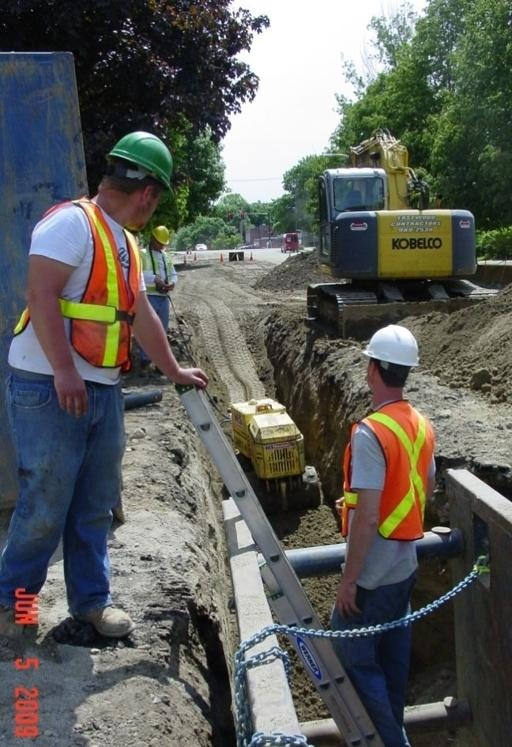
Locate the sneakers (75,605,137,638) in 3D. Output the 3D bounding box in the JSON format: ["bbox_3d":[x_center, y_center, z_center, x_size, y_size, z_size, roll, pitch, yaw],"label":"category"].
[{"bbox_3d":[-0.653,1.072,2.984,0.225,0.082,0.118,-4,1,33],"label":"sneakers"}]

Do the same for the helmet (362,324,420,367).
[{"bbox_3d":[0.580,-0.114,2.981,0.179,0.116,0.213,14,5,-4],"label":"helmet"}]

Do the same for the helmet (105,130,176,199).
[{"bbox_3d":[-0.449,-0.837,2.786,0.203,0.136,0.250,18,9,7],"label":"helmet"}]

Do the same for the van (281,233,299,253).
[{"bbox_3d":[2.716,-10.295,53.575,1.296,1.456,2.447,0,23,1],"label":"van"}]

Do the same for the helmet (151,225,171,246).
[{"bbox_3d":[-1.240,-1.830,9.041,0.250,0.167,0.298,6,42,-39],"label":"helmet"}]

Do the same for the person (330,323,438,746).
[{"bbox_3d":[0.520,0.779,2.954,0.356,1.929,0.547,1,9,30],"label":"person"}]

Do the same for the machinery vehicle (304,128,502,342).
[{"bbox_3d":[2.384,-2.873,13.753,2.445,3.665,7.301,2,8,1],"label":"machinery vehicle"}]
